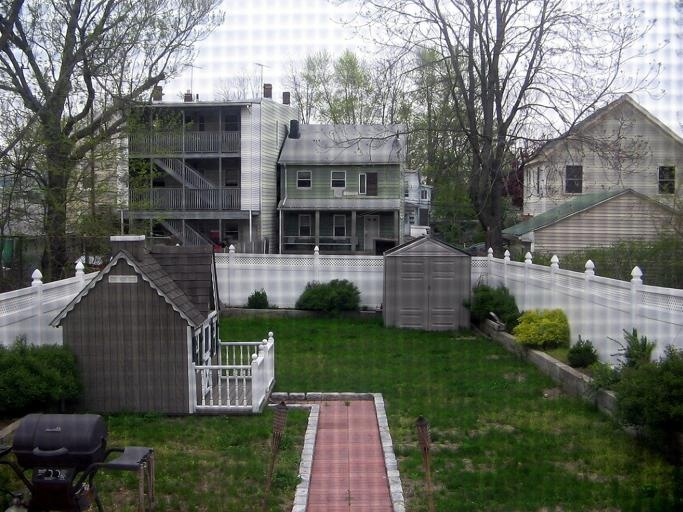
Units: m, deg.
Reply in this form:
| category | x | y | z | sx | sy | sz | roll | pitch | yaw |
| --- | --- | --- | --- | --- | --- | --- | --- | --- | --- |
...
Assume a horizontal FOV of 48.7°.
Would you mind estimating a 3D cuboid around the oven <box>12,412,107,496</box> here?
| category | x | y | z | sx | sy | sz | roll | pitch | yaw |
| --- | --- | --- | --- | --- | --- | --- | --- | --- | --- |
| oven | -5.074 | 3.388 | 13.588 | 1.539 | 1.016 | 0.369 | 1 | 1 | -4 |
